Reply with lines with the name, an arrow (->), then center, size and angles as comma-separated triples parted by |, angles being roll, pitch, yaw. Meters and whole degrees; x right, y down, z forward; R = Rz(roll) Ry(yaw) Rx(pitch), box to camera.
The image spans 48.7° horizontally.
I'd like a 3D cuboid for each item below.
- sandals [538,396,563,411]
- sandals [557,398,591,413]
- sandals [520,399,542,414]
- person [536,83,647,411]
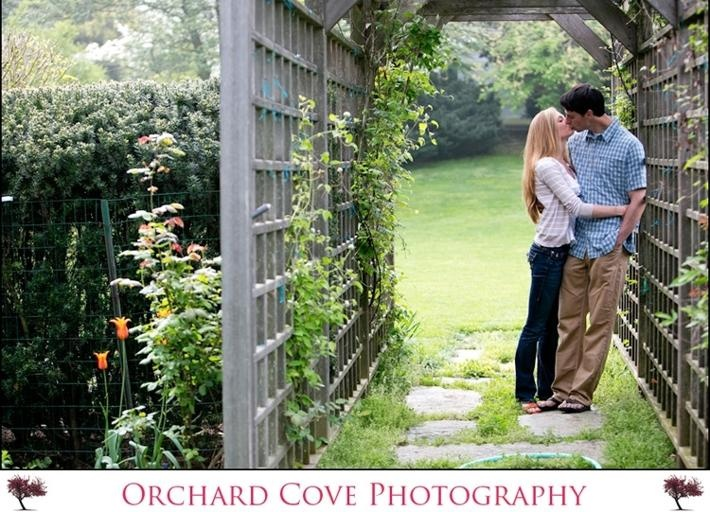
sandals -> 1.318, 0.996, 5.322 | 0.191, 0.050, 0.068 | 2, -4, -44
sandals -> 1.451, 0.983, 5.206 | 0.168, 0.057, 0.093 | 5, -5, 5
sandals -> 1.189, 1.027, 5.294 | 0.111, 0.042, 0.059 | 6, 24, -28
person -> 1.564, -0.050, 5.208 | 0.710, 2.159, 0.305 | -2, 4, 23
